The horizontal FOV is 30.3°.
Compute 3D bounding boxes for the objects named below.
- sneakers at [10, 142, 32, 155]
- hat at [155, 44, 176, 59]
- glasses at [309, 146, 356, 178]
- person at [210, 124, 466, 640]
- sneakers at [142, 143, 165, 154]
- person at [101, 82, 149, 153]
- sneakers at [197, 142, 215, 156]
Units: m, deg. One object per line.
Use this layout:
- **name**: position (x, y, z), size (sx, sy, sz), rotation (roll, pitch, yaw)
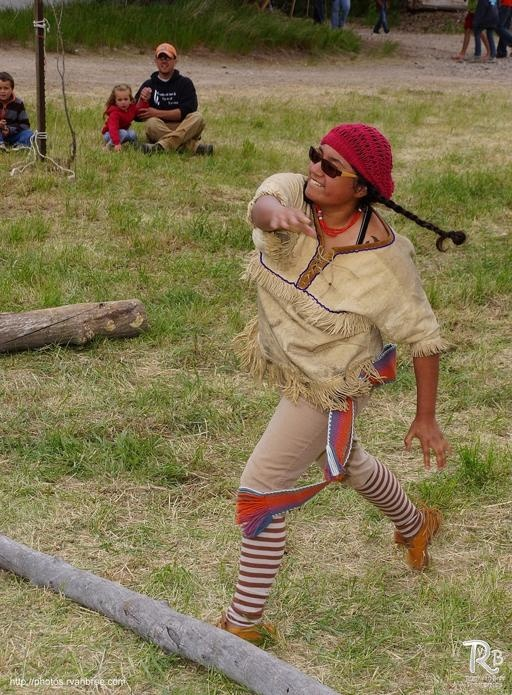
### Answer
- **sneakers**: position (-2.143, -1.796, 8.552), size (0.228, 0.058, 0.111), rotation (2, -1, 6)
- **hat**: position (-0.913, -2.956, 9.452), size (0.169, 0.153, 0.295), rotation (3, 10, -2)
- **glasses**: position (0.208, -0.525, 2.757), size (0.127, 0.032, 0.102), rotation (11, 19, -42)
- **person**: position (0.253, 0.136, 2.852), size (0.644, 1.591, 0.453), rotation (1, 13, -18)
- **sneakers**: position (-0.999, -1.918, 9.115), size (0.217, 0.108, 0.122), rotation (1, 11, -16)
- **person**: position (-1.300, -2.230, 9.213), size (0.401, 0.651, 1.016), rotation (4, 10, -3)
- **sneakers**: position (-0.520, -1.953, 9.315), size (0.156, 0.055, 0.145), rotation (3, 21, 4)
